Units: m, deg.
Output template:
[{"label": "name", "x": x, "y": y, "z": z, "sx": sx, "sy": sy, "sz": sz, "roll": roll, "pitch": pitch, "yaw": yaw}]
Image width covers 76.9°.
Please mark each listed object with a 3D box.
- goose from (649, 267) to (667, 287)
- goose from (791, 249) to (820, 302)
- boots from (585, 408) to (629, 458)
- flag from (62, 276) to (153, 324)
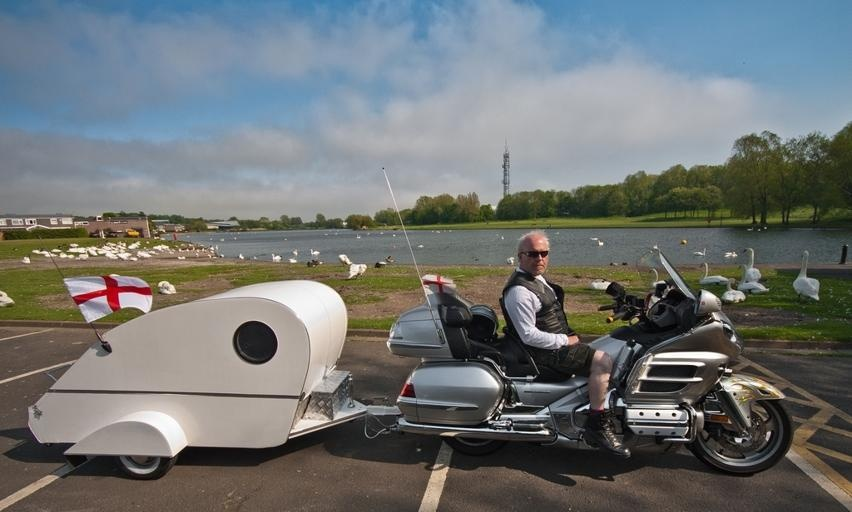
[{"label": "goose", "x": 3.864, "y": 0.354, "z": 9.025, "sx": 0.356, "sy": 0.276, "sz": 0.200, "roll": 0, "pitch": 8, "yaw": 1}, {"label": "goose", "x": 11.829, "y": 0.606, "z": 16.727, "sx": 0.646, "sy": 1.499, "sz": 1.261, "roll": 0, "pitch": 7, "yaw": 36}, {"label": "boots", "x": 2.770, "y": 2.710, "z": 8.354, "sx": 0.629, "sy": 0.645, "sz": 0.253, "roll": -2, "pitch": 7, "yaw": 18}, {"label": "flag", "x": -5.252, "y": 0.692, "z": 8.937, "sx": 1.244, "sy": 0.740, "sz": 0.438, "roll": -4, "pitch": 6, "yaw": -3}]
